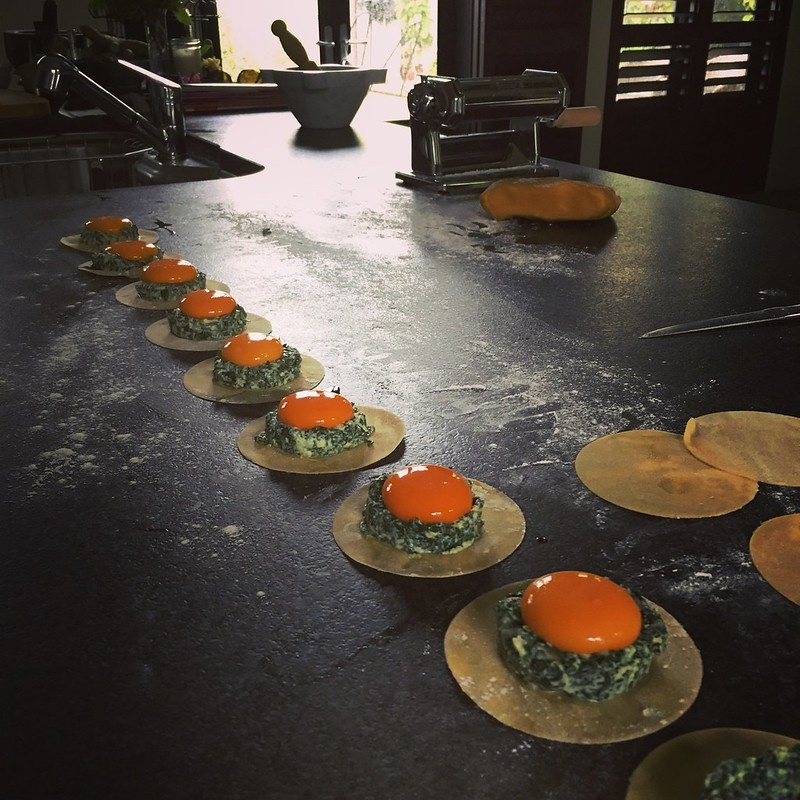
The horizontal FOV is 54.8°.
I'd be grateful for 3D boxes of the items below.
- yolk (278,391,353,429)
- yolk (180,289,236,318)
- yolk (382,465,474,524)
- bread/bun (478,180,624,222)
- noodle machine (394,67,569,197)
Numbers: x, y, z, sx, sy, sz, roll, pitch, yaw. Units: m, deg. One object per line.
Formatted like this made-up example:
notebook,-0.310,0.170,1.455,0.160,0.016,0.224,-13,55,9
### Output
yolk,-0.084,0.006,0.815,0.059,0.011,0.052,14,23,33
yolk,-0.264,-0.141,1.064,0.059,0.012,0.055,20,30,37
yolk,0.024,0.083,0.680,0.080,0.034,0.060,1,21,-1
bread/bun,0.315,-0.425,1.587,0.258,0.053,0.107,4,27,10
noodle machine,0.197,-0.688,1.918,0.443,0.234,0.252,-23,44,-39
